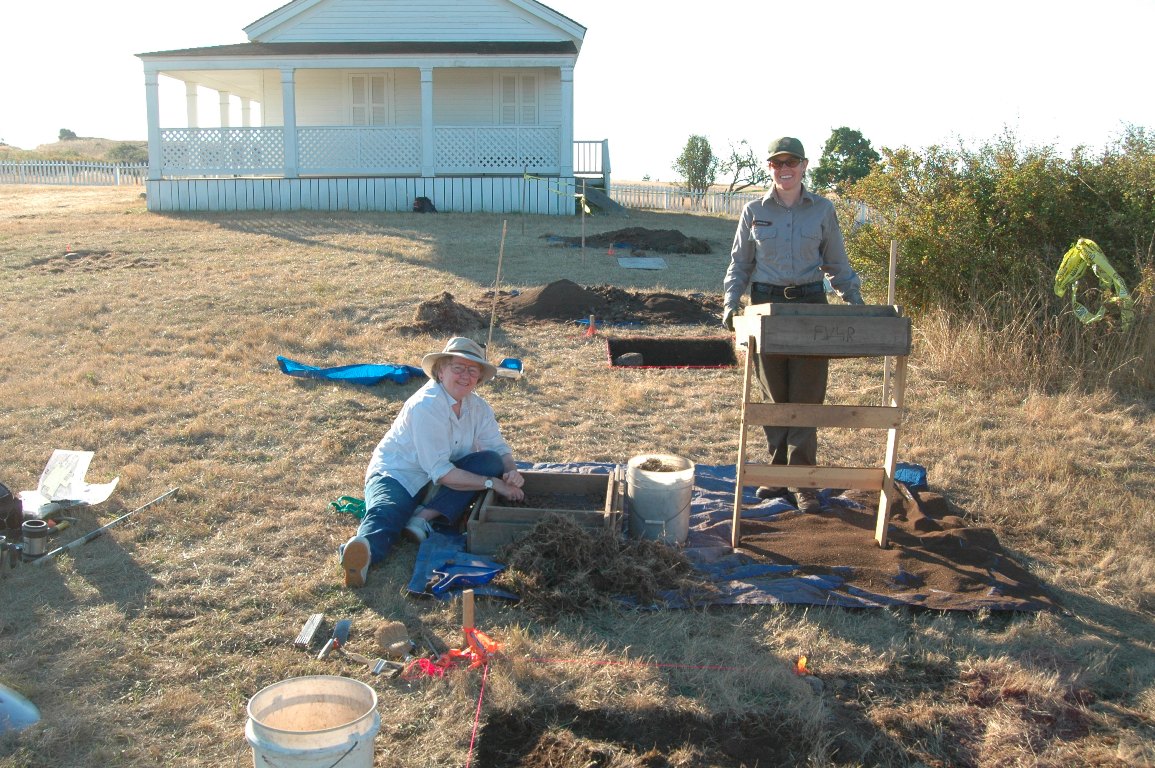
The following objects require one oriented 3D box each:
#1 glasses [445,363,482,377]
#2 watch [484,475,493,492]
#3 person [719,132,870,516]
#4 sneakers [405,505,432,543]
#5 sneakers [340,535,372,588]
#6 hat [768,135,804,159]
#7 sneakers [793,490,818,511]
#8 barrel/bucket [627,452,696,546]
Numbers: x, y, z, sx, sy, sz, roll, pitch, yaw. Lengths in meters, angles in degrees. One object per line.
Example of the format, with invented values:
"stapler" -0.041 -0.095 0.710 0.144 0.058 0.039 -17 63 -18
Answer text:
"glasses" -0.870 -0.102 8.477 0.260 0.111 0.103 -9 15 -40
"watch" -0.708 0.802 8.502 0.063 0.102 0.097 11 -9 -14
"person" 1.851 -0.530 9.093 1.110 3.198 0.921 -2 23 7
"sneakers" -1.261 1.137 8.381 0.109 0.150 0.314 3 13 3
"sneakers" -1.660 1.315 7.880 0.153 0.431 0.175 4 5 -3
"hat" 1.663 -1.854 8.407 0.265 0.170 0.318 2 12 7
"sneakers" 1.932 1.000 8.968 0.119 0.184 0.177 4 21 0
"barrel/bucket" 0.651 1.001 8.512 0.589 0.717 0.658 2 13 11
